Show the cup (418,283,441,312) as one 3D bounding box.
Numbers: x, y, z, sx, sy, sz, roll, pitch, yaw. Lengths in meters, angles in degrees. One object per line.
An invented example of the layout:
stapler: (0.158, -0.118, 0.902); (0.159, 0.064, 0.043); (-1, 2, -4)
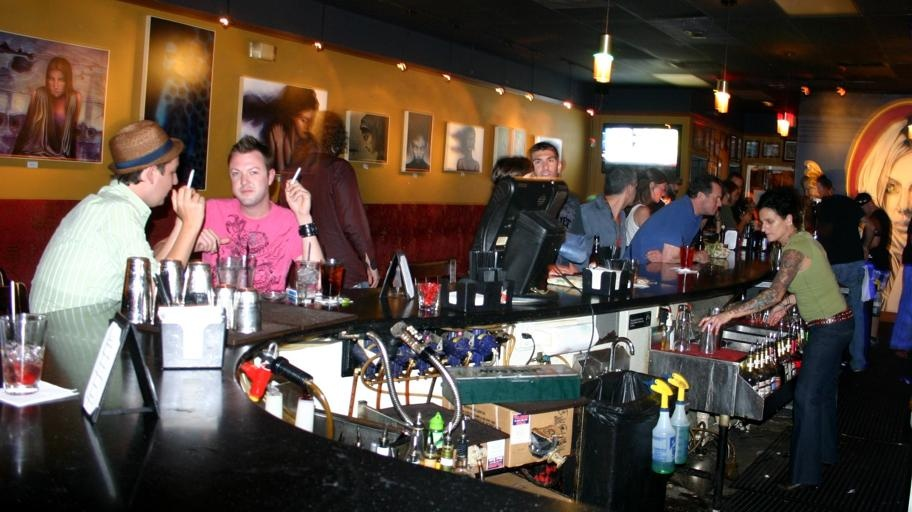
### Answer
cup: (-0.176, 0.271, 4.469); (0.177, 0.182, 0.174); (2, 1, 0)

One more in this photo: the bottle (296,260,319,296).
bottle: (-0.970, 0.138, 4.463); (0.203, 0.208, 0.195); (1, 0, -11)

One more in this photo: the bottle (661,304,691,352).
bottle: (1.781, 0.566, 5.358); (0.225, 0.306, 0.304); (4, 3, 17)

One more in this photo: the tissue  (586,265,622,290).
tissue : (1.127, 0.156, 5.043); (0.194, 0.139, 0.190); (1, 6, 18)

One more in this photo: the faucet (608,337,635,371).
faucet: (1.300, 0.747, 5.164); (0.180, 0.205, 0.299); (4, 3, 18)

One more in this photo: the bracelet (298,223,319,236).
bracelet: (-1.082, -0.183, 4.861); (0.120, 0.080, 0.121); (-4, 0, -8)

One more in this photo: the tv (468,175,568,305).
tv: (0.459, -0.125, 4.735); (0.833, 0.611, 0.296); (2, 3, -31)

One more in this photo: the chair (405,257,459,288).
chair: (-0.304, 0.175, 7.644); (0.389, 0.169, 0.481); (-2, 7, -20)

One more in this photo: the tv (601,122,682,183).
tv: (3.916, -2.391, 13.510); (1.677, 1.078, 0.945); (6, 35, 26)

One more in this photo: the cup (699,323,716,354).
cup: (1.982, 0.646, 5.196); (0.123, 0.190, 0.092); (5, 2, 18)

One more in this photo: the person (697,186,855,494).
person: (2.808, 0.656, 5.545); (1.457, 2.337, 0.641); (2, 3, -35)
